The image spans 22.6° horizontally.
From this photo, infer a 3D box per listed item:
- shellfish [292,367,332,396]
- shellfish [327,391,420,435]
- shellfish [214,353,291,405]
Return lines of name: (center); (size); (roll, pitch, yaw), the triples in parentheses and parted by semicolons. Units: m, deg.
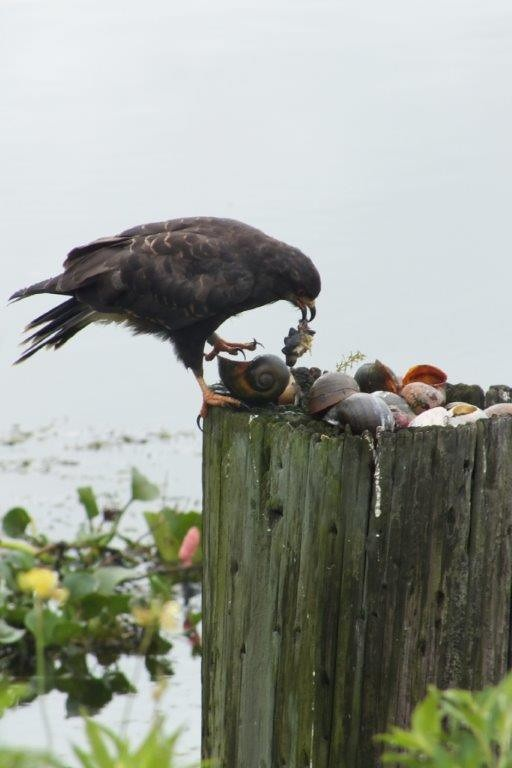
shellfish: (0.191, -0.013, 4.322); (0.092, 0.064, 0.214); (-19, 23, -6)
shellfish: (0.329, 0.092, 3.657); (0.237, 0.148, 0.522); (-7, -7, 9)
shellfish: (0.011, -0.025, 3.851); (0.167, 0.161, 0.212); (3, 6, 44)
